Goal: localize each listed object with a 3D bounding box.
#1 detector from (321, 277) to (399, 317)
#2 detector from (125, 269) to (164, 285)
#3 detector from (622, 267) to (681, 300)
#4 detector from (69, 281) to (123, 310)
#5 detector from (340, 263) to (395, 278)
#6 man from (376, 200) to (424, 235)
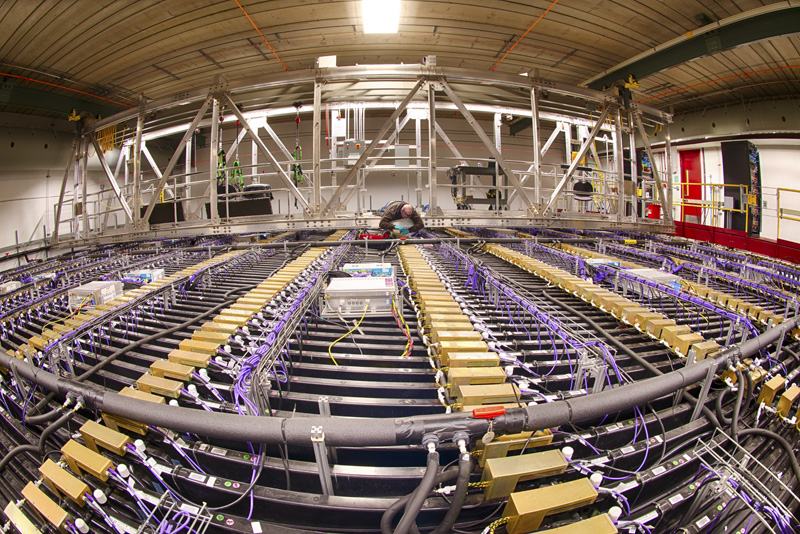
[{"bbox_3d":[-0.527,0.386,5.841,0.776,0.236,0.550,0,22,0],"label":"detector"},{"bbox_3d":[-4.164,0.140,7.013,0.415,0.142,0.306,-1,4,7],"label":"detector"},{"bbox_3d":[3.626,0.208,6.277,0.477,0.174,0.610,0,10,-12],"label":"detector"},{"bbox_3d":[-4.557,0.396,6.463,0.532,0.301,0.494,-1,7,0],"label":"detector"},{"bbox_3d":[-0.430,0.029,6.364,0.786,0.159,0.647,0,6,6],"label":"detector"},{"bbox_3d":[0.019,-0.958,8.226,0.793,0.628,1.113,-1,6,-3],"label":"man"}]
